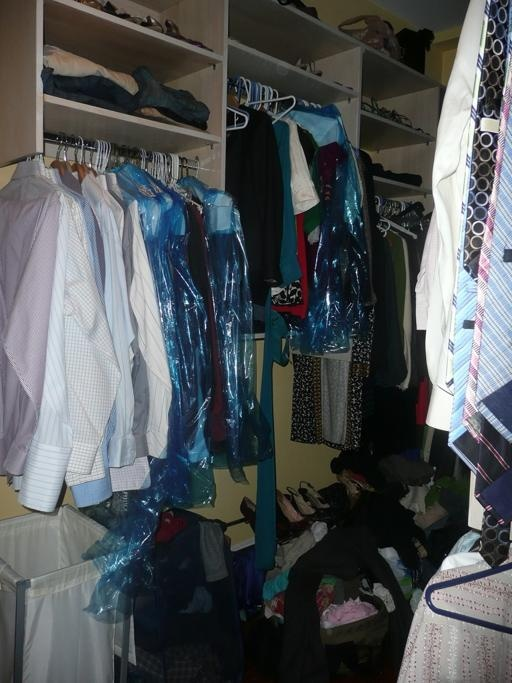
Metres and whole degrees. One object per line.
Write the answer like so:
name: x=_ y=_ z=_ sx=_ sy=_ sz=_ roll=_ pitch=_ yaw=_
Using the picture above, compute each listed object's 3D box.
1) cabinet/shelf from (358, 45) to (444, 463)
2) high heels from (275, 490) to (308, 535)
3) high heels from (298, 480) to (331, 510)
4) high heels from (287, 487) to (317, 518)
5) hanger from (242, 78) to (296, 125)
cabinet/shelf: x=0.569 y=-0.347 z=2.362 sx=0.377 sy=1.591 sz=0.962 roll=1 pitch=4 yaw=18
high heels: x=0.119 y=0.617 z=2.025 sx=0.057 sy=0.059 sz=0.170 roll=-14 pitch=30 yaw=-31
high heels: x=0.230 y=0.602 z=2.200 sx=0.041 sy=0.043 sz=0.126 roll=-2 pitch=20 yaw=-19
high heels: x=0.176 y=0.604 z=2.129 sx=0.040 sy=0.056 sz=0.130 roll=-7 pitch=4 yaw=-16
hanger: x=0.045 y=-0.767 z=1.810 sx=0.155 sy=0.065 sz=0.169 roll=8 pitch=6 yaw=-24
